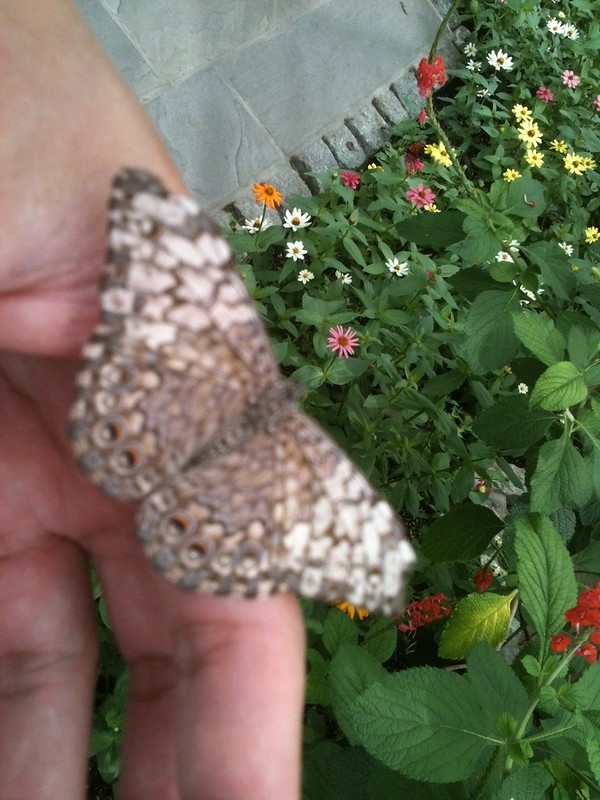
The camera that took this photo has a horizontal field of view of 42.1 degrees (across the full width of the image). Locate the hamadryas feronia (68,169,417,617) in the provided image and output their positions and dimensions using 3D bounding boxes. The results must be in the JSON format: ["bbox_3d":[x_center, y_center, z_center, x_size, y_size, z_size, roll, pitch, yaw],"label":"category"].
[{"bbox_3d":[-0.087,0.021,0.797,0.261,0.314,0.485,-27,67,-20],"label":"hamadryas feronia"}]

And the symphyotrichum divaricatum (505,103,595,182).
[{"bbox_3d":[1.021,-0.980,3.208,0.485,0.189,0.318,11,57,-46],"label":"symphyotrichum divaricatum"}]

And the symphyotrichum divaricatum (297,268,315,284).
[{"bbox_3d":[0.019,-0.366,2.297,0.046,0.014,0.045,-41,84,-9],"label":"symphyotrichum divaricatum"}]

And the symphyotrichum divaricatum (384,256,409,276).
[{"bbox_3d":[0.295,-0.409,2.381,0.074,0.034,0.059,19,42,-19],"label":"symphyotrichum divaricatum"}]
